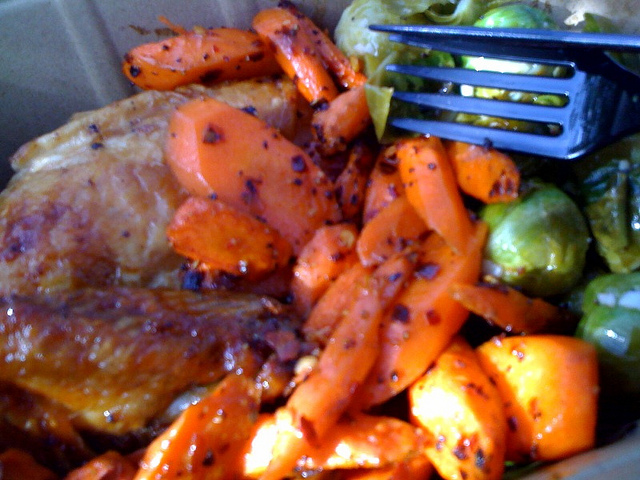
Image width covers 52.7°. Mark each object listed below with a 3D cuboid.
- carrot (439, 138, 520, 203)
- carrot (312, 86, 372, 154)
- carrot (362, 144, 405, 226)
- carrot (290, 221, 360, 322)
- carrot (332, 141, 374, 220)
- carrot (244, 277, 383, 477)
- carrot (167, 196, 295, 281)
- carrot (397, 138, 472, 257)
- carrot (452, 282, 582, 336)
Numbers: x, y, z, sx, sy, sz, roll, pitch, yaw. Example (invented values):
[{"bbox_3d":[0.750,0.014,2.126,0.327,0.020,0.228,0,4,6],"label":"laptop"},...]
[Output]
[{"bbox_3d":[0.503,-0.212,2.001,0.228,0.076,0.134,44,114,26],"label":"carrot"},{"bbox_3d":[0.065,-0.413,2.197,0.255,0.136,0.091,-51,13,5],"label":"carrot"},{"bbox_3d":[0.206,-0.185,2.097,0.080,0.254,0.160,2,19,25],"label":"carrot"},{"bbox_3d":[0.021,0.072,2.036,0.155,0.098,0.325,25,80,11],"label":"carrot"},{"bbox_3d":[0.098,-0.198,2.159,0.052,0.126,0.253,-5,62,56],"label":"carrot"},{"bbox_3d":[-0.011,0.418,1.854,0.569,0.123,0.135,-60,20,-19],"label":"carrot"},{"bbox_3d":[-0.265,0.000,1.952,0.113,0.321,0.214,-174,105,-76],"label":"carrot"},{"bbox_3d":[0.380,-0.135,2.023,0.175,0.096,0.495,-27,47,11],"label":"carrot"},{"bbox_3d":[0.605,0.225,1.962,0.411,0.107,0.166,6,85,-10],"label":"carrot"}]
